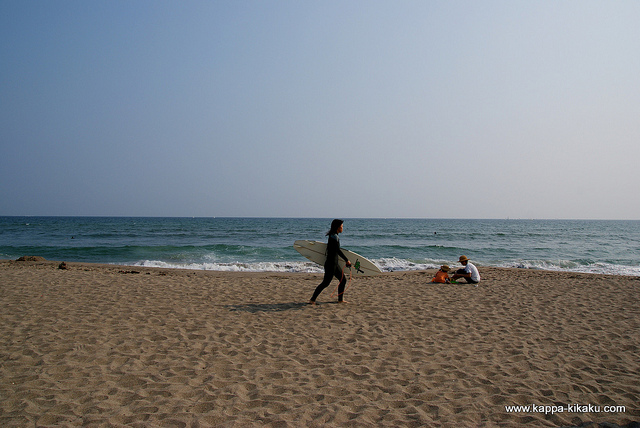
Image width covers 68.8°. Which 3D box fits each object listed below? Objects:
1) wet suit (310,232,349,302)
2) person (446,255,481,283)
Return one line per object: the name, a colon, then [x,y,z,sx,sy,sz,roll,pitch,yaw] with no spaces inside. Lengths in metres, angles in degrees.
wet suit: [0.257,1.293,11.320,0.822,1.744,0.795,1,0,0]
person: [4.568,1.799,14.866,1.101,0.891,0.687,1,-1,26]
